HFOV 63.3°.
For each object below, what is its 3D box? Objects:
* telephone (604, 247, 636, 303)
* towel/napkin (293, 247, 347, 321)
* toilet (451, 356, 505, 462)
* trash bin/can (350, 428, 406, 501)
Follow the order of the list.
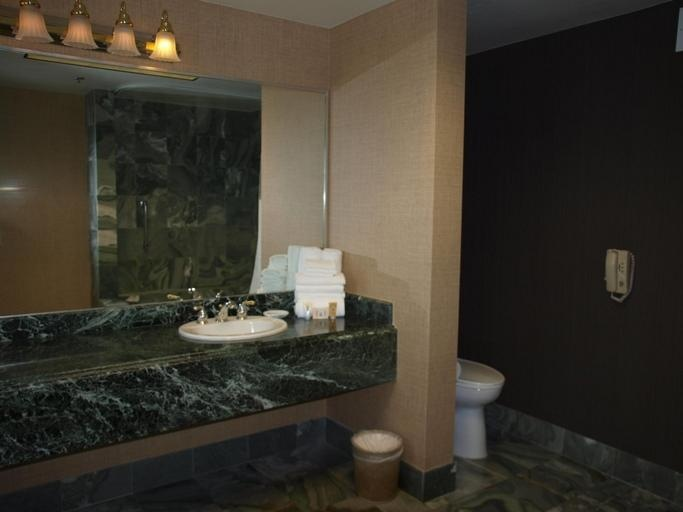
[{"bbox_3d":[1.787,0.110,3.610,0.208,0.301,0.089,2,3,-30],"label":"telephone"},{"bbox_3d":[-0.160,0.163,3.723,0.470,0.483,0.389,0,1,-14],"label":"towel/napkin"},{"bbox_3d":[0.866,1.061,3.966,0.548,0.677,0.502,-3,0,20],"label":"toilet"},{"bbox_3d":[0.190,1.261,3.433,0.341,0.341,0.342,1,0,-13],"label":"trash bin/can"}]
